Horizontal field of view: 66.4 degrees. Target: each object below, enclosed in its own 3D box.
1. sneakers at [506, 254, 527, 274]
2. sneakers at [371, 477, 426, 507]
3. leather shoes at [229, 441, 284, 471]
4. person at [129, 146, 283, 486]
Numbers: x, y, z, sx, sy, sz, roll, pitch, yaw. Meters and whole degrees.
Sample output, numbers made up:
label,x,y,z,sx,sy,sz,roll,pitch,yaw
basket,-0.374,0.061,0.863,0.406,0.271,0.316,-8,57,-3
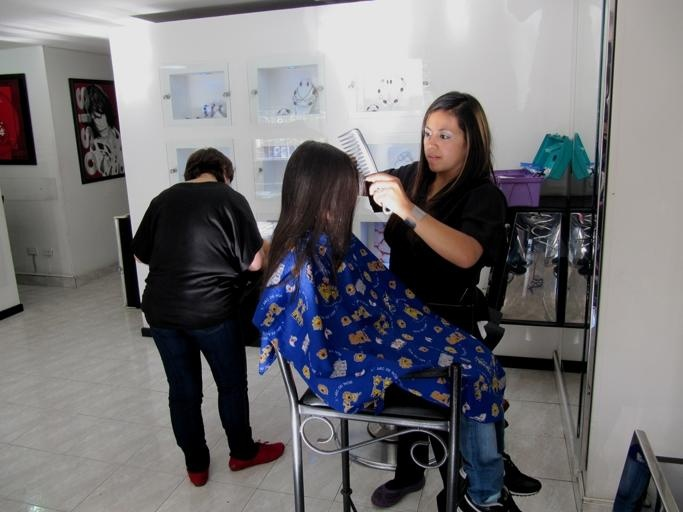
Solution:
label,x,y,z,sx,sy,sz,roll,pitch,yaw
sneakers,1.028,0.051,3.053,0.083,0.123,0.101,-1,-19,10
sneakers,0.258,1.047,2.382,0.257,0.080,0.105,-17,23,-18
leather shoes,-0.420,0.971,2.653,0.271,0.124,0.113,-9,7,-26
person,-0.619,0.281,2.559,0.655,1.603,0.660,-3,13,-16
